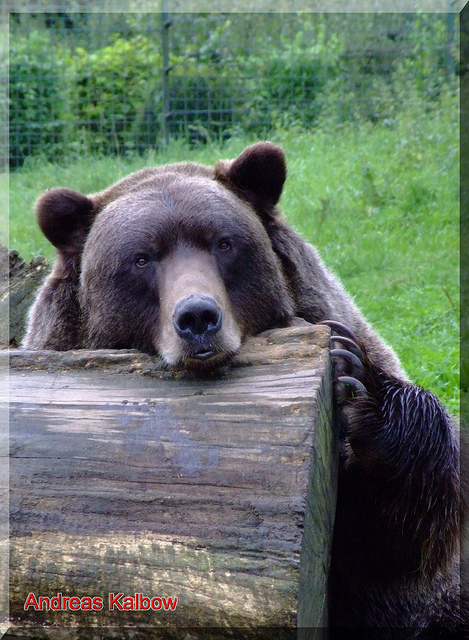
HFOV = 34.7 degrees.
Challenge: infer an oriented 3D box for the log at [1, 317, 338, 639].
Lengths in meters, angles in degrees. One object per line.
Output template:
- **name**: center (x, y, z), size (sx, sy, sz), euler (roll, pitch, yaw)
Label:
- **log**: center (-0.210, 0.476, 1.870), size (0.844, 0.247, 0.918), euler (-4, 33, 10)

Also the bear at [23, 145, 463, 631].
- **bear**: center (0.124, 0.476, 3.182), size (1.295, 1.293, 2.182), euler (-9, -36, 3)
